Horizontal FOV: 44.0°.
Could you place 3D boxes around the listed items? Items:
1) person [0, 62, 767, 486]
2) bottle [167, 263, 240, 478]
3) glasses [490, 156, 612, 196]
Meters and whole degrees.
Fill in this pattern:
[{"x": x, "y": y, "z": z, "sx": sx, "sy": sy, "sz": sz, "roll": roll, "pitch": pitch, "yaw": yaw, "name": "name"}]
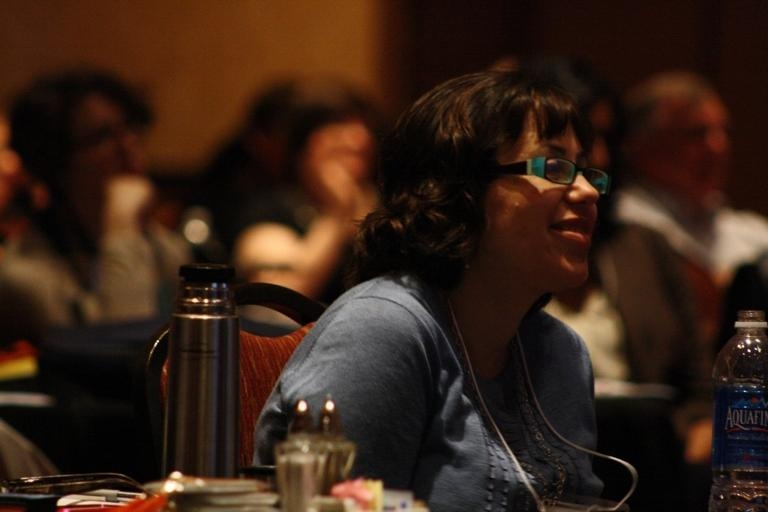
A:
[{"x": 0.080, "y": 0.051, "z": 3.082, "sx": 1.167, "sy": 1.525, "sz": 1.540, "roll": -15, "pitch": -21, "yaw": 30, "name": "person"}, {"x": -0.444, "y": 0.283, "z": 2.321, "sx": 0.181, "sy": 0.513, "sz": 0.109, "roll": 1, "pitch": 4, "yaw": -12, "name": "bottle"}, {"x": 0.503, "y": -0.247, "z": 2.867, "sx": 0.177, "sy": 0.049, "sz": 0.185, "roll": -8, "pitch": -15, "yaw": 44, "name": "glasses"}]
